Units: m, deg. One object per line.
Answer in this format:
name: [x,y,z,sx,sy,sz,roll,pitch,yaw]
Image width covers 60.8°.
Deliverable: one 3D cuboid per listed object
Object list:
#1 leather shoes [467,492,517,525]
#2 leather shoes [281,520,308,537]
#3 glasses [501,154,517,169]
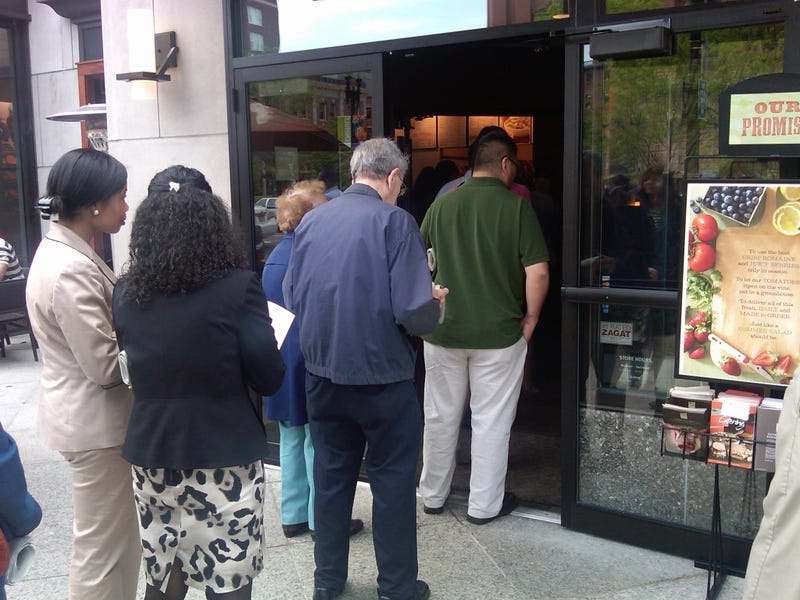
leather shoes: [0.515,1.159,3.821,0.113,0.145,0.344,17,29,37]
leather shoes: [-0.562,1.215,3.626,0.057,0.073,0.162,-1,-10,32]
glasses: [0.602,-0.769,3.742,0.079,0.074,0.059,29,-22,-29]
